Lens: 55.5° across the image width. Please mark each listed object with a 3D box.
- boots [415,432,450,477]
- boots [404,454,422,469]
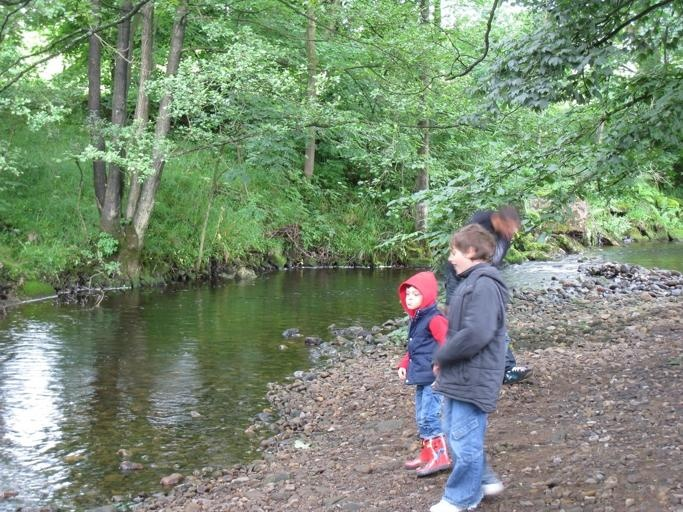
[{"bbox_3d":[0.817,1.827,5.887,0.385,0.339,0.180,-30,-40,34],"label":"boots"},{"bbox_3d":[0.671,1.900,5.991,0.186,0.069,0.103,-2,2,36],"label":"boots"}]
